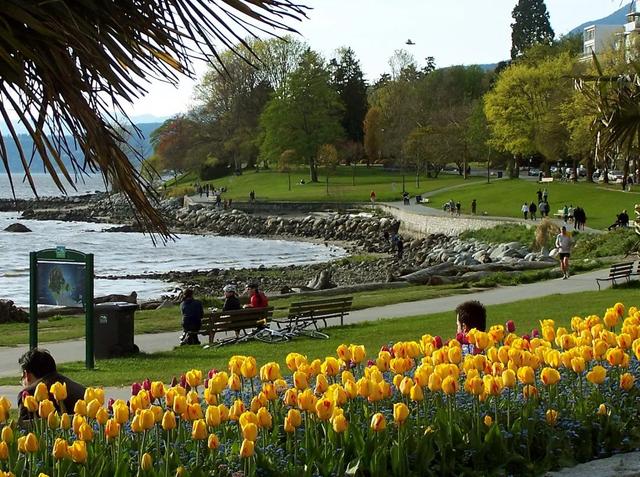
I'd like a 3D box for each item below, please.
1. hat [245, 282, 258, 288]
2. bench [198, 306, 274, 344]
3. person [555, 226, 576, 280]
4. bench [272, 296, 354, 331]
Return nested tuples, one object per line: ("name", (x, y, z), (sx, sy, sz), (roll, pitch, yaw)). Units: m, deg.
("hat", (-1.525, 1.036, 20.464), (0.253, 0.140, 0.306), (1, -1, 5))
("bench", (-1.741, 1.740, 19.110), (1.797, 0.688, 0.583), (-9, 6, -42))
("person", (7.908, 0.423, 29.217), (0.508, 1.640, 2.217), (-4, 4, 15))
("bench", (-0.113, 1.777, 20.604), (1.785, 0.889, 0.621), (-3, 4, -39))
